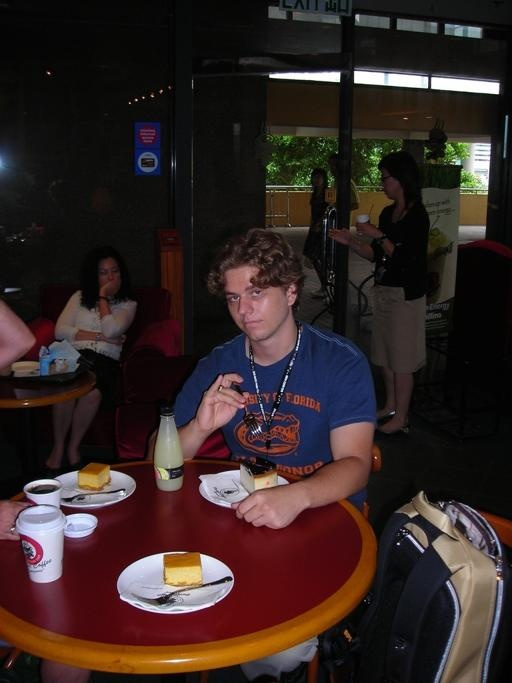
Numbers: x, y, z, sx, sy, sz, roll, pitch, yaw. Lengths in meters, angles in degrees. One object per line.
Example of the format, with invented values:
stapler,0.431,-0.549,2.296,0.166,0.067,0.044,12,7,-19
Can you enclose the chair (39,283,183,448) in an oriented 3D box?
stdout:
chair,-0.708,0.045,3.166,0.558,0.701,0.632,6,17,32

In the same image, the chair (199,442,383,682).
chair,0.085,0.510,1.454,0.475,0.536,0.509,-2,13,1

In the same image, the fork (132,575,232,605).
fork,-0.112,0.383,0.831,0.119,0.017,0.020,-4,-7,-24

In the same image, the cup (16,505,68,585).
cup,-0.335,0.323,0.920,0.102,0.122,0.101,0,15,0

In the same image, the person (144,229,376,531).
person,0.055,0.137,1.411,0.459,0.803,0.526,-4,-5,-36

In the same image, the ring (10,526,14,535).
ring,-0.453,0.355,1.014,0.008,0.010,0.004,2,-15,-26

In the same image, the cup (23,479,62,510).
cup,-0.427,0.297,1.103,0.074,0.058,0.077,1,-3,0

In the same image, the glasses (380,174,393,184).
glasses,0.785,-0.977,3.270,0.031,0.055,0.101,-1,13,-13

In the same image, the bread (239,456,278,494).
bread,0.008,0.283,1.184,0.066,0.064,0.087,-6,12,-23

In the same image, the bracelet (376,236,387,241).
bracelet,0.773,-0.629,3.323,0.049,0.031,0.043,-3,8,3

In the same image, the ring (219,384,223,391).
ring,-0.085,0.115,1.324,0.010,0.017,0.010,0,7,0

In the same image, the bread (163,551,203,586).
bread,-0.109,0.352,0.858,0.048,0.028,0.047,1,5,-11
